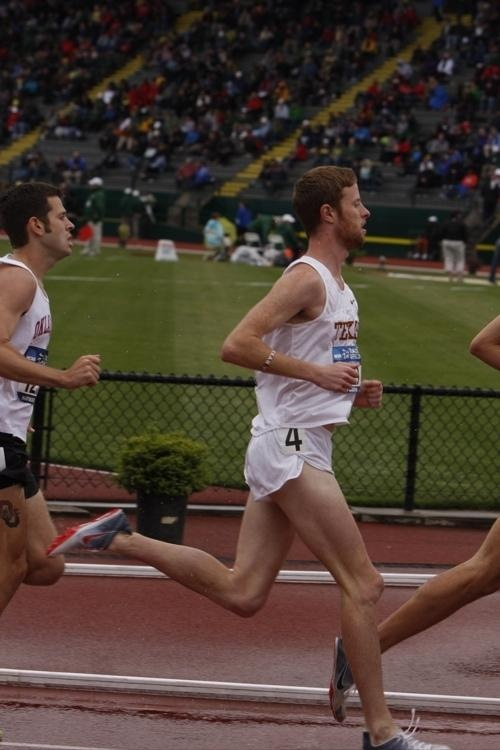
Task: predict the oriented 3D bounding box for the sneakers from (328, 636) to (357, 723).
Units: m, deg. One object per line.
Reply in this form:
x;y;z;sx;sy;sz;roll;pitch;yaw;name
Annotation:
0.256;0.887;2.361;0.125;0.255;0.088;5;19;17;sneakers
